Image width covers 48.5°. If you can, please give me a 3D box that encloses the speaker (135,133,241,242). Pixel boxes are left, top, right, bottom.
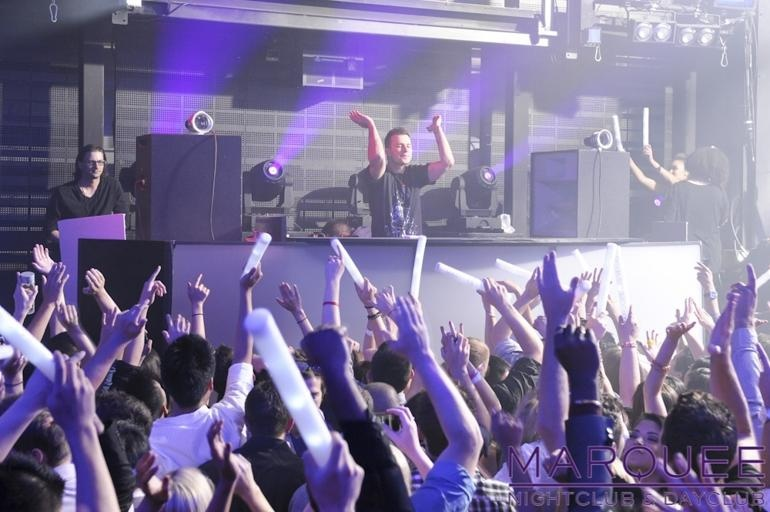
[{"bbox_3d":[-1.749,-0.405,8.068,0.868,1.329,0.740,2,-36,-13],"label":"speaker"}]

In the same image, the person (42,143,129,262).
[{"bbox_3d":[-3.093,-0.465,8.894,0.760,1.322,0.634,-1,16,-33],"label":"person"}]

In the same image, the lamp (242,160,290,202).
[{"bbox_3d":[-1.386,-0.882,9.951,0.468,0.428,0.337,2,-3,21],"label":"lamp"}]

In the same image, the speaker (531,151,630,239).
[{"bbox_3d":[2.122,-0.642,9.489,0.669,1.029,0.958,-4,5,-27],"label":"speaker"}]
